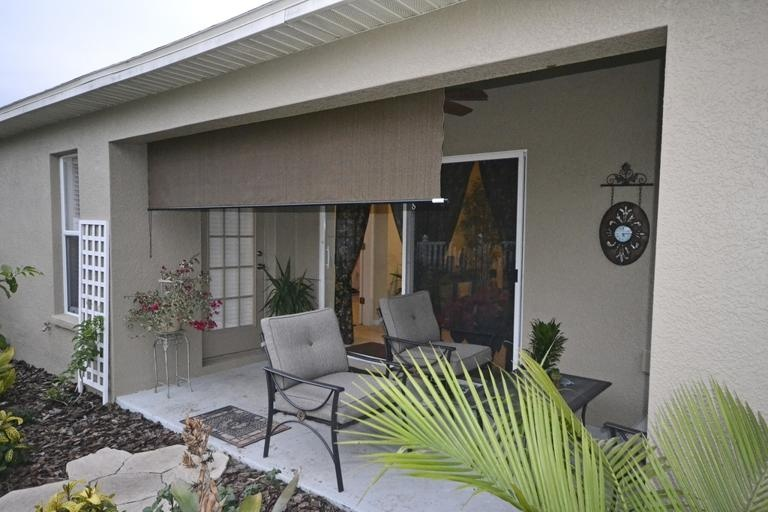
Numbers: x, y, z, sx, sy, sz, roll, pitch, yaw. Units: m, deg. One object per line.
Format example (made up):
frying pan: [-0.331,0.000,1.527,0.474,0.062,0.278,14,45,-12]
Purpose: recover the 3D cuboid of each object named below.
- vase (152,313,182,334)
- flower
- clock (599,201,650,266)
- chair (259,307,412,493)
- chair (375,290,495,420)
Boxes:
vase: [-2.221,0.692,5.560,0.218,0.154,0.198,3,-4,-25]
flower: [-2.112,0.451,5.818,0.718,0.537,0.543,-5,20,-18]
clock: [2.331,-0.220,5.167,0.608,0.839,0.050,0,0,39]
chair: [-0.407,1.122,4.625,1.060,1.116,1.064,7,8,28]
chair: [0.538,0.959,5.528,0.965,1.067,0.787,4,9,43]
